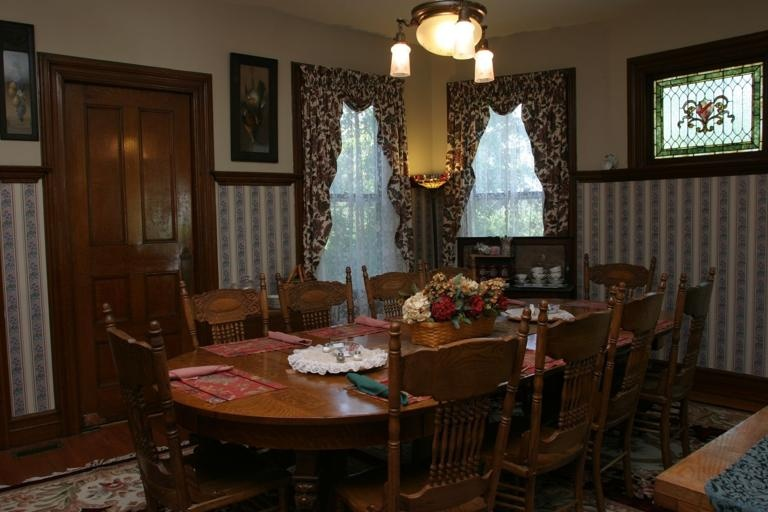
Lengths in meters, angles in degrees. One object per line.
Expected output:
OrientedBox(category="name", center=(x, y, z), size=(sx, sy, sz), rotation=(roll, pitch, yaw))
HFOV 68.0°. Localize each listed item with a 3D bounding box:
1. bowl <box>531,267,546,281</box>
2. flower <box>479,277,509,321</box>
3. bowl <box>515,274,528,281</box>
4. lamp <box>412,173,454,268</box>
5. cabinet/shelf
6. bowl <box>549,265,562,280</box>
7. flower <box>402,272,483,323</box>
OrientedBox(category="bowl", center=(1.605, 0.186, 5.902), size=(0.134, 0.115, 0.123), rotation=(-2, 2, 0))
OrientedBox(category="flower", center=(0.686, 0.261, 3.628), size=(0.208, 0.294, 0.238), rotation=(-3, 0, -12))
OrientedBox(category="bowl", center=(1.447, 0.222, 5.989), size=(0.110, 0.070, 0.121), rotation=(-3, 7, 0))
OrientedBox(category="lamp", center=(0.523, -0.321, 6.536), size=(0.378, 0.934, 0.186), rotation=(-2, 8, 5))
OrientedBox(category="cabinet/shelf", center=(1.378, 0.119, 5.565), size=(0.620, 0.583, 0.223), rotation=(-2, -6, 20))
OrientedBox(category="bowl", center=(1.770, 0.183, 5.885), size=(0.126, 0.120, 0.129), rotation=(1, 2, 0))
OrientedBox(category="flower", center=(0.341, 0.268, 3.414), size=(0.292, 0.246, 0.398), rotation=(-7, 3, 39))
